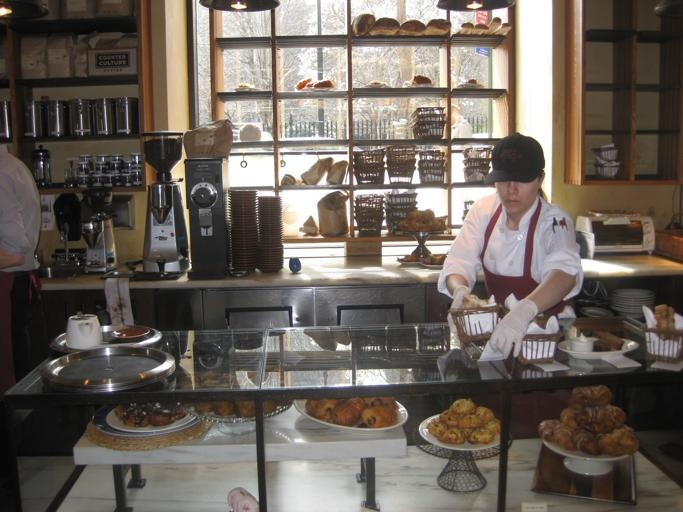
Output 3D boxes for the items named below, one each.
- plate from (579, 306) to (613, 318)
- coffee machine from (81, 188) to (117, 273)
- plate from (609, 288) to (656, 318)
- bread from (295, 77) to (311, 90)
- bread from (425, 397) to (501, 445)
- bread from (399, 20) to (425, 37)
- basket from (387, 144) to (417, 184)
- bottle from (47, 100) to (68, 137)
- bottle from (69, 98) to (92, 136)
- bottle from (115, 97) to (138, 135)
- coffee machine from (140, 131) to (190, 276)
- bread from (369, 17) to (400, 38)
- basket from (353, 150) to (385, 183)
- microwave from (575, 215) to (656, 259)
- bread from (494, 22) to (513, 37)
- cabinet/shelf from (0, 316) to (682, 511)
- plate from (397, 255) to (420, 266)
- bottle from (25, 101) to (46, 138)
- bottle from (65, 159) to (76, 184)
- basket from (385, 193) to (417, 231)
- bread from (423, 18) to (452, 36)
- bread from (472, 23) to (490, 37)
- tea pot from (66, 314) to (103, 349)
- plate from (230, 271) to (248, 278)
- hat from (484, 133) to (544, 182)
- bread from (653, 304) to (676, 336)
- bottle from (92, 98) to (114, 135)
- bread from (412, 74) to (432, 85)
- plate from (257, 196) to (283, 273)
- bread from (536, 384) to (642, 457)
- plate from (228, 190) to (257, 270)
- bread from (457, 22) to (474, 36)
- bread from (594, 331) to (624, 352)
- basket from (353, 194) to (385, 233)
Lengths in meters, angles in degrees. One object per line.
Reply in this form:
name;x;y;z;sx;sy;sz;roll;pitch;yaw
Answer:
plate;1.648;0.370;4.499;0.146;0.021;0.151;0;16;9
coffee machine;-1.713;-0.183;4.881;0.241;0.589;0.202;-8;11;-21
plate;1.986;0.318;4.669;0.297;0.157;0.212;-3;11;5
bread;-0.309;-1.327;5.470;0.117;0.034;0.121;-22;7;-18
bread;0.513;0.639;2.829;0.194;0.088;0.209;-3;5;-26
bread;0.540;-1.730;5.301;0.141;0.085;0.139;1;10;4
basket;0.458;-0.700;5.290;0.257;0.297;0.259;-2;5;-13
bottle;-2.070;-0.988;5.037;0.157;0.263;0.079;-8;11;-22
bottle;-1.910;-0.994;5.043;0.174;0.266;0.082;-5;11;-5
bottle;-1.568;-1.008;5.057;0.176;0.269;0.086;-7;11;-16
coffee machine;-1.210;-0.353;4.779;0.381;0.979;0.255;-12;13;-38
bread;0.332;-1.739;5.294;0.227;0.137;0.071;-3;11;3
basket;0.191;-0.698;5.345;0.238;0.283;0.254;-2;8;-10
microwave;2.016;-0.155;5.098;0.471;0.321;0.340;0;3;0
bread;1.272;-1.764;5.408;0.061;0.069;0.190;9;16;-1
cabinet/shelf;0.178;0.641;2.864;1.774;0.601;0.645;-4;11;0
plate;0.479;0.038;5.034;0.181;0.065;0.086;4;13;33
bottle;-2.213;-0.977;5.018;0.148;0.263;0.086;-8;11;-23
bottle;-2.006;-0.623;5.125;0.091;0.183;0.475;-8;12;-21
basket;0.445;-0.334;5.334;0.252;0.285;0.274;1;8;6
bread;0.736;-1.745;5.318;0.200;0.122;0.086;-2;11;7
bread;1.084;-1.745;5.389;0.097;0.053;0.106;-2;0;27
tea pot;-1.084;0.318;2.919;0.113;0.146;0.152;-1;3;-22
plate;-0.699;0.123;4.764;0.111;0.038;0.103;-13;15;-38
hat;0.800;-0.444;3.188;0.181;0.156;0.266;7;22;34
bread;1.308;0.265;2.799;0.068;0.029;0.119;1;48;16
bottle;-1.716;-0.998;5.041;0.140;0.268;0.064;-4;11;-2
bread;0.629;-1.362;5.396;0.133;0.080;0.118;1;12;20
plate;-0.503;-0.144;4.863;0.201;0.531;0.132;-5;11;-6
bread;1.031;0.698;2.954;0.321;0.225;0.322;2;-2;0
plate;-0.678;-0.177;4.841;0.207;0.549;0.118;-5;11;-8
bread;0.974;-1.754;5.426;0.087;0.119;0.059;6;25;-3
bread;1.088;0.350;2.814;0.069;0.021;0.080;-4;13;-1
basket;0.210;-0.312;5.245;0.267;0.329;0.265;0;1;2
